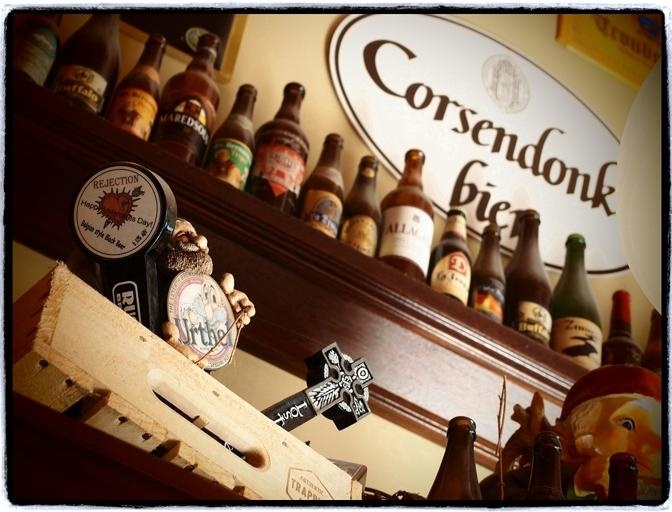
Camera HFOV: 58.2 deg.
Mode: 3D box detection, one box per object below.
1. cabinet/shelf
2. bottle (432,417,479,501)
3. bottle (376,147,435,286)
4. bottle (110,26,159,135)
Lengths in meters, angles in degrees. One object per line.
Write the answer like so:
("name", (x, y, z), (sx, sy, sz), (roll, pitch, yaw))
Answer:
("cabinet/shelf", (-0.089, 0.073, 1.161), (1.190, 0.350, 0.246), (35, -32, -7))
("bottle", (0.172, 0.291, 0.854), (0.069, 0.070, 0.155), (-1, -58, 5))
("bottle", (0.160, -0.091, 1.332), (0.110, 0.350, 0.113), (8, -30, 5))
("bottle", (-0.390, -0.335, 1.204), (0.072, 0.243, 0.060), (12, -19, -4))
